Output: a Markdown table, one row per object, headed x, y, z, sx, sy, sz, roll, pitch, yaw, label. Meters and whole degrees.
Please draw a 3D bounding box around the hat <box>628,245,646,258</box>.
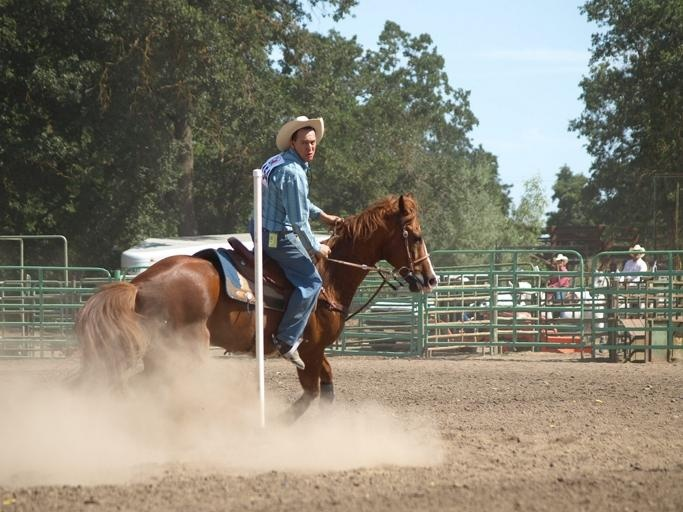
| x | y | z | sx | sy | sz | roll | pitch | yaw | label |
| --- | --- | --- | --- | --- | --- | --- | --- | --- | --- |
| 9.041 | -0.133 | 36.817 | 0.389 | 0.159 | 0.463 | 0 | -23 | 4 | hat |
